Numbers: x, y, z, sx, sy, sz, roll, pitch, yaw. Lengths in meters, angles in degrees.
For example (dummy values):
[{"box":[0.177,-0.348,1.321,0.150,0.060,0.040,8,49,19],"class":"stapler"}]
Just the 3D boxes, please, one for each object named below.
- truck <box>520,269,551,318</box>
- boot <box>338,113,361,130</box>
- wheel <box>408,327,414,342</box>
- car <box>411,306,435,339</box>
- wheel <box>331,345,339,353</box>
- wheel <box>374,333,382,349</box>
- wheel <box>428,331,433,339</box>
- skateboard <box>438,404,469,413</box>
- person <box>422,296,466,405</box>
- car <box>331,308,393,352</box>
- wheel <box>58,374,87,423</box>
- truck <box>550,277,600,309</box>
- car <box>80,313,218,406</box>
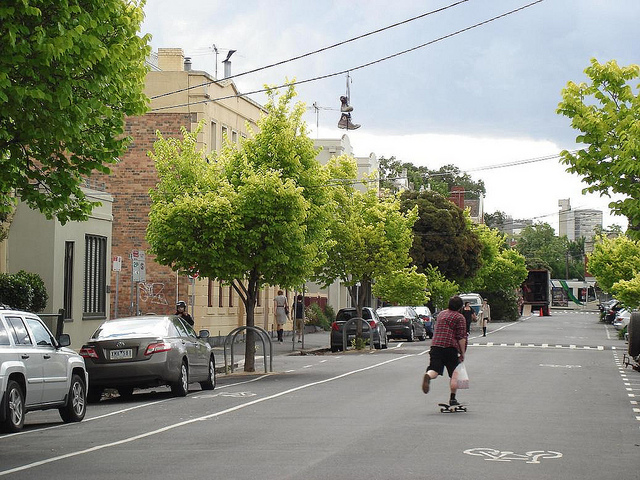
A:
[{"box":[24.292,6.255,94.530,3.861,4.922,7.400,-1,-8,20],"class":"truck"},{"box":[0.814,-3.544,24.993,0.501,0.394,0.776,-2,-7,4],"class":"boot"},{"box":[4.432,4.615,40.977,0.215,0.732,0.698,3,-10,6],"class":"wheel"},{"box":[5.704,4.388,46.239,1.143,1.217,2.708,0,0,12],"class":"car"},{"box":[0.600,4.567,35.060,0.369,0.289,0.223,1,2,16],"class":"wheel"},{"box":[2.484,4.343,35.911,0.335,0.661,0.683,-2,-7,3],"class":"wheel"},{"box":[6.045,5.203,46.014,0.217,0.329,1.039,-3,-7,11],"class":"wheel"},{"box":[2.360,2.989,14.891,0.463,0.158,0.412,-3,-7,8],"class":"skateboard"},{"box":[2.260,1.893,15.288,0.823,1.695,0.610,-1,-6,-6],"class":"person"},{"box":[1.870,3.865,36.240,1.710,1.859,4.163,-5,-8,29],"class":"car"},{"box":[-4.368,2.784,14.669,0.269,0.862,0.825,-5,-11,1],"class":"wheel"},{"box":[38.801,8.453,128.508,8.802,4.845,3.522,-1,-2,39],"class":"truck"},{"box":[-3.509,2.413,17.615,1.545,1.699,2.838,-6,-8,35],"class":"car"}]
